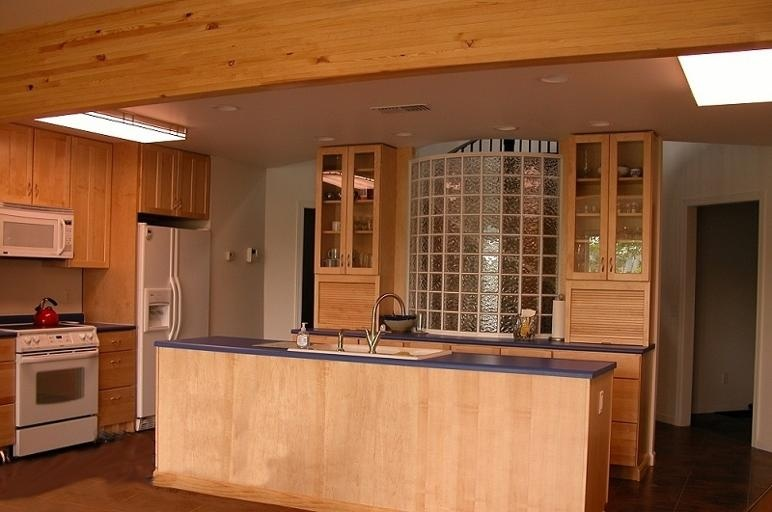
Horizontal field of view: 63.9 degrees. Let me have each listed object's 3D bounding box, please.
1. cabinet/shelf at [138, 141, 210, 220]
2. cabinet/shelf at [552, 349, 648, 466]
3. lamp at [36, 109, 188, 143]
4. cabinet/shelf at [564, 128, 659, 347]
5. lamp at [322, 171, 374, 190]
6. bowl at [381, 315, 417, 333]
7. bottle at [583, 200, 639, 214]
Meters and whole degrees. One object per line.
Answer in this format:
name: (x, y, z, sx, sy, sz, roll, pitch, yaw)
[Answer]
cabinet/shelf: (-2.475, -0.894, 7.123, 0.444, 0.692, 1.057, -1, -2, 41)
cabinet/shelf: (2.114, 1.392, 5.789, 0.850, 1.077, 0.471, 2, 4, 1)
lamp: (-2.577, -1.254, 5.895, 0.582, 0.158, 1.219, 3, 2, 29)
cabinet/shelf: (2.188, -0.171, 6.097, 0.848, 2.082, 0.198, 4, 4, 22)
lamp: (-0.430, -0.853, 7.026, 0.350, 0.076, 0.355, 3, 0, 35)
bowl: (0.130, 0.727, 6.659, 0.267, 0.094, 0.253, 0, -4, 0)
bottle: (2.230, -0.484, 6.118, 0.521, 0.135, 0.081, 2, 3, 25)
